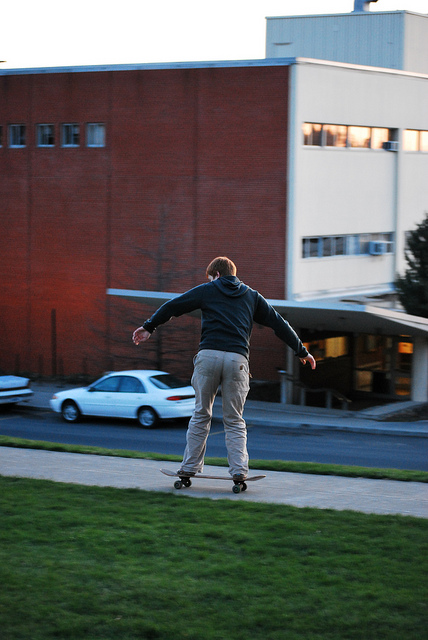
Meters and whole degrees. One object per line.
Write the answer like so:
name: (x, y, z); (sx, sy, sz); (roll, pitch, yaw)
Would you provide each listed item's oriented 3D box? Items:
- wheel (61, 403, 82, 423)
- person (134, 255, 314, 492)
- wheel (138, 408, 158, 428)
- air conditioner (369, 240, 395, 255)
wheel: (-3.041, 1.989, 22.435); (0.470, 0.428, 0.163); (-2, -1, 24)
person: (0.049, 0.424, 8.115); (1.216, 1.624, 0.464); (4, -1, -4)
wheel: (-1.336, 1.962, 21.071); (0.123, 0.359, 0.561); (5, -2, -43)
air conditioner: (4.783, -2.107, 30.097); (0.498, 0.377, 1.656); (3, -1, 19)
